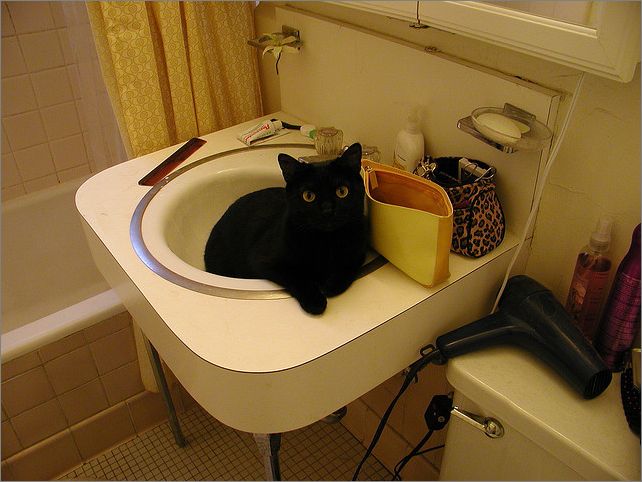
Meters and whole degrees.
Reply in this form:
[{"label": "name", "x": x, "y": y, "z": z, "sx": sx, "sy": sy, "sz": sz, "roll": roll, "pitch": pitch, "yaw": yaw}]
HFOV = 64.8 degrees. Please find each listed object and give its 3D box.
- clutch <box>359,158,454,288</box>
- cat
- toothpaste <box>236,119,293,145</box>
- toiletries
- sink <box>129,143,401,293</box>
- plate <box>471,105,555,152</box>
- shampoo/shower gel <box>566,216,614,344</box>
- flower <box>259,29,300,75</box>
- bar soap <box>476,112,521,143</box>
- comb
[{"label": "clutch", "x": 0.140, "y": -0.015, "z": 0.975, "sx": 0.193, "sy": 0.203, "sz": 0.280, "roll": -6, "pitch": 35, "yaw": -10}, {"label": "cat", "x": -0.086, "y": -0.053, "z": 0.979, "sx": 0.218, "sy": 0.310, "sz": 0.383, "roll": -24, "pitch": 40, "yaw": -34}, {"label": "toothpaste", "x": -0.148, "y": -0.277, "z": 1.283, "sx": 0.099, "sy": 0.032, "sz": 0.065, "roll": -31, "pitch": 46, "yaw": -19}, {"label": "toiletries", "x": 0.503, "y": 0.079, "z": 0.979, "sx": 0.068, "sy": 0.247, "sz": 0.073, "roll": -17, "pitch": 34, "yaw": -26}, {"label": "sink", "x": -0.111, "y": -0.037, "z": 1.007, "sx": 0.348, "sy": 0.131, "sz": 0.358, "roll": -9, "pitch": 32, "yaw": -17}, {"label": "plate", "x": 0.343, "y": -0.218, "z": 0.904, "sx": 0.104, "sy": 0.047, "sz": 0.099, "roll": -20, "pitch": 40, "yaw": -34}, {"label": "shampoo/shower gel", "x": 0.497, "y": 0.069, "z": 0.930, "sx": 0.068, "sy": 0.246, "sz": 0.073, "roll": -16, "pitch": 33, "yaw": -25}, {"label": "flower", "x": -0.115, "y": -0.507, "z": 1.306, "sx": 0.079, "sy": 0.072, "sz": 0.129, "roll": -23, "pitch": 39, "yaw": -33}, {"label": "bar soap", "x": 0.316, "y": -0.204, "z": 0.909, "sx": 0.044, "sy": 0.032, "sz": 0.095, "roll": -27, "pitch": 41, "yaw": -36}, {"label": "comb", "x": -0.346, "y": -0.200, "z": 1.249, "sx": 0.207, "sy": 0.106, "sz": 0.159, "roll": -7, "pitch": 39, "yaw": -9}]
